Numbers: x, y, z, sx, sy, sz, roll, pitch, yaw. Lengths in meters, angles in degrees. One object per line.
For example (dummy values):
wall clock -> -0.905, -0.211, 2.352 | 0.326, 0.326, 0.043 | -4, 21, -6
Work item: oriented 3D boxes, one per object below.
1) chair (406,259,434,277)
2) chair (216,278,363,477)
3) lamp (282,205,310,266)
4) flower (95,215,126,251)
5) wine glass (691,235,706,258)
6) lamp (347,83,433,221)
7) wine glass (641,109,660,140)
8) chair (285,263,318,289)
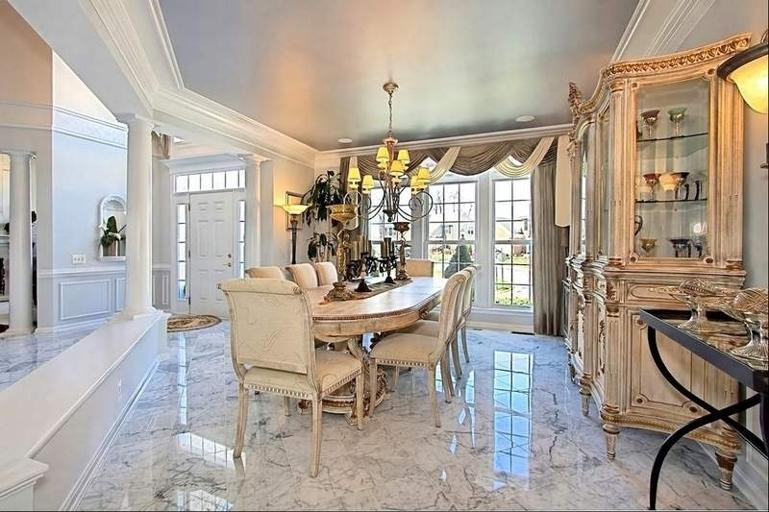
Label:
chair -> 0.484, 0.174, 6.320 | 0.261, 0.316, 0.268 | 0, -14, 8
chair -> -0.634, 0.849, 3.428 | 1.025, 1.391, 0.665 | -4, 14, -20
lamp -> -1.376, -0.354, 7.143 | 0.379, 0.930, 0.751 | -1, 13, -8
flower -> -3.984, -0.296, 6.661 | 0.182, 0.531, 0.323 | 5, 14, 20
wine glass -> 2.281, -0.073, 3.320 | 0.051, 0.153, 0.097 | -2, 13, -13
lamp -> 0.082, -1.268, 5.500 | 1.010, 1.663, 0.957 | -1, -2, 34
wine glass -> 2.005, -0.987, 3.501 | 0.169, 0.200, 0.170 | -3, -5, 35
chair -> -0.879, 0.229, 5.117 | 0.295, 0.401, 0.259 | -1, 0, 41
